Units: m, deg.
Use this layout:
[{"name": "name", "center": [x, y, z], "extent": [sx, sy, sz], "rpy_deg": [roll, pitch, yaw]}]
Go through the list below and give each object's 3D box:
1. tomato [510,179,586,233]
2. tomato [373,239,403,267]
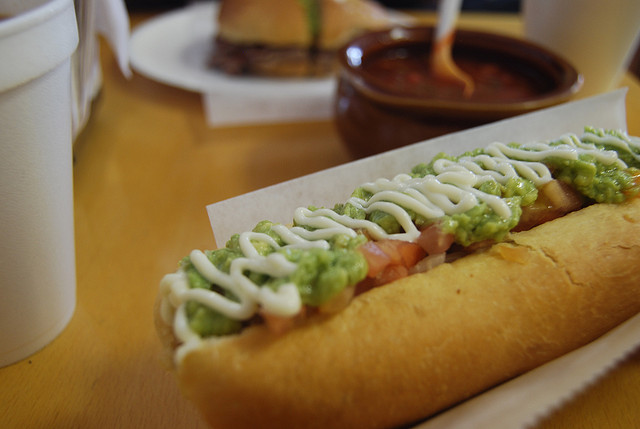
[{"name": "tomato", "center": [0.745, -0.018, 1.549], "extent": [0.237, 0.098, 0.140], "rpy_deg": [-32, 56, -14]}, {"name": "tomato", "center": [0.188, 0.098, 1.349], "extent": [0.036, 0.113, 0.085], "rpy_deg": [17, 74, -14]}]
